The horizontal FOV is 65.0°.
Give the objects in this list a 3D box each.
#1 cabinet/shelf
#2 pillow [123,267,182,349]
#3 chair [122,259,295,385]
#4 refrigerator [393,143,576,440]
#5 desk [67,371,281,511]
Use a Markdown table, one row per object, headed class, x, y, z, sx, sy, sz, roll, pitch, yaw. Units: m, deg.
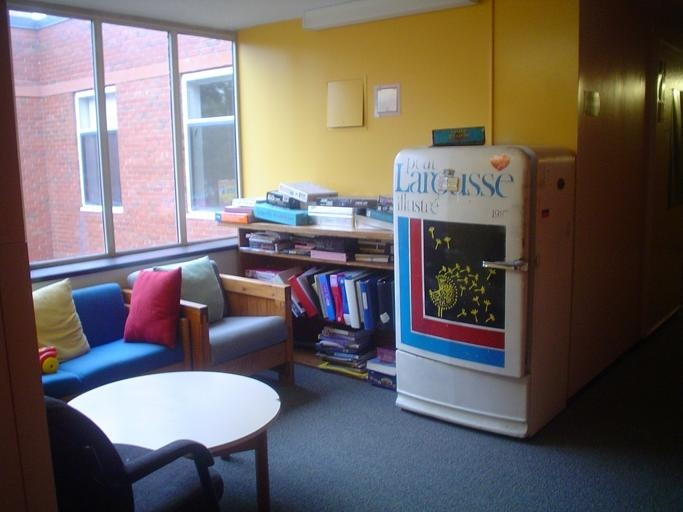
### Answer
| class | x | y | z | sx | sy | sz | roll | pitch | yaw |
| --- | --- | --- | --- | --- | --- | --- | --- | --- | --- |
| cabinet/shelf | -0.141 | 0.378 | 4.344 | 1.091 | 0.899 | 0.368 | 4 | 6 | 40 |
| pillow | -1.247 | 0.391 | 3.782 | 0.433 | 0.523 | 0.174 | -6 | -19 | 31 |
| chair | -0.991 | 0.569 | 4.240 | 1.123 | 1.080 | 1.175 | 0 | 7 | 16 |
| refrigerator | 0.911 | 0.207 | 3.547 | 1.156 | 1.833 | 0.541 | 4 | 14 | 21 |
| desk | -0.763 | 0.800 | 2.775 | 0.732 | 0.426 | 0.796 | 2 | 18 | 2 |
